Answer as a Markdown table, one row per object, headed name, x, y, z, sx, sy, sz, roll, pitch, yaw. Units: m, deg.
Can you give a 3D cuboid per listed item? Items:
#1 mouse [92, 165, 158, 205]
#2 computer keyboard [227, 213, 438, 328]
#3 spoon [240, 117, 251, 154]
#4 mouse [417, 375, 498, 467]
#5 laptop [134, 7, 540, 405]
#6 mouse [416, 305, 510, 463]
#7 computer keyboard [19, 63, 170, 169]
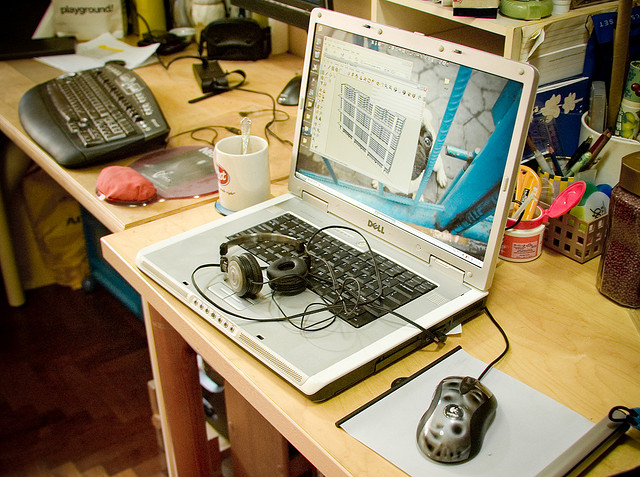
| name | x | y | z | sx | sy | sz | roll | pitch | yaw |
| --- | --- | --- | --- | --- | --- | --- | --- | --- | --- |
| mouse | -0.429 | -0.121 | 1.093 | 0.159 | 0.046 | 0.114 | 27 | 32 | 33 |
| computer keyboard | 0.003 | 0.057 | 0.878 | 0.380 | 0.041 | 0.193 | 26 | 46 | 36 |
| spoon | -0.159 | -0.221 | 1.047 | 0.020 | 0.017 | 0.098 | -6 | 55 | 19 |
| mouse | 0.183 | 0.229 | 0.663 | 0.086 | 0.043 | 0.137 | 11 | 41 | 32 |
| laptop | 0.014 | -0.088 | 0.798 | 0.508 | 0.374 | 0.474 | 29 | 46 | 33 |
| mouse | 0.180 | 0.235 | 0.651 | 0.079 | 0.039 | 0.123 | 21 | 42 | 25 |
| computer keyboard | -0.549 | -0.309 | 1.300 | 0.311 | 0.087 | 0.407 | -20 | 46 | -31 |
